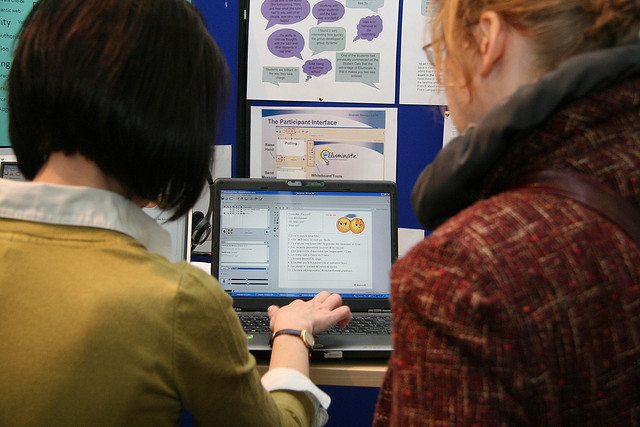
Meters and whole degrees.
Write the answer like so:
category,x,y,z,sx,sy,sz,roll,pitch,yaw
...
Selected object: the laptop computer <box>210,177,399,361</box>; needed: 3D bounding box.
category,x,y,z,sx,sy,sz,roll,pitch,yaw
laptop computer,-0.012,0.102,1.281,0.429,0.386,0.308,0,98,-10
